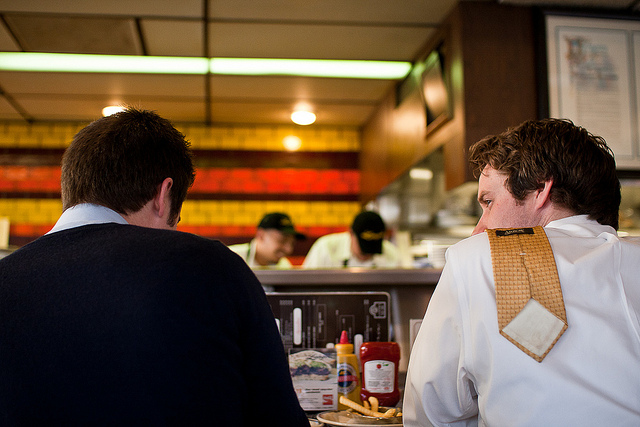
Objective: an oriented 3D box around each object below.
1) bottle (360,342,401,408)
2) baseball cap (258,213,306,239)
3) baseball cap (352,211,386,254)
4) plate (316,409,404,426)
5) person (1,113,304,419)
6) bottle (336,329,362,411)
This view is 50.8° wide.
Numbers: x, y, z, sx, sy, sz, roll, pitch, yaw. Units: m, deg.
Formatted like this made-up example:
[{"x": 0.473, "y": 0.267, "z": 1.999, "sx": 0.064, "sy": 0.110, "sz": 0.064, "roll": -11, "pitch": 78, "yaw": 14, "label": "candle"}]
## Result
[{"x": 0.231, "y": 0.622, "z": 2.614, "sx": 0.157, "sy": 0.248, "sz": 0.110, "roll": -3, "pitch": -7, "yaw": -7, "label": "bottle"}, {"x": -0.281, "y": 0.088, "z": 4.758, "sx": 0.283, "sy": 0.141, "sz": 0.175, "roll": 0, "pitch": -8, "yaw": 6, "label": "baseball cap"}, {"x": 0.350, "y": 0.121, "z": 4.834, "sx": 0.303, "sy": 0.292, "sz": 0.219, "roll": -3, "pitch": 10, "yaw": -37, "label": "baseball cap"}, {"x": 0.135, "y": 0.743, "z": 2.426, "sx": 0.306, "sy": 0.039, "sz": 0.138, "roll": -8, "pitch": -9, "yaw": 32, "label": "plate"}, {"x": -0.522, "y": 0.166, "z": 2.107, "sx": 0.875, "sy": 0.986, "sz": 0.214, "roll": -3, "pitch": -7, "yaw": -5, "label": "person"}, {"x": 0.108, "y": 0.606, "z": 2.621, "sx": 0.105, "sy": 0.288, "sz": 0.073, "roll": -3, "pitch": -7, "yaw": -10, "label": "bottle"}]
